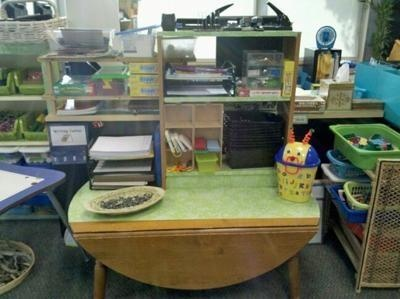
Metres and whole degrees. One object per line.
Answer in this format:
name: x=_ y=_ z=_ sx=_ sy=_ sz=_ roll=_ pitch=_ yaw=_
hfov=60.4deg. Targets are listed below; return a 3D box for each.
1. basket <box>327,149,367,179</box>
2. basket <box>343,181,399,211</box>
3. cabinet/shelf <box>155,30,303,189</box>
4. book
basket: x=1.076 y=0.129 z=2.602 sx=0.206 sy=0.078 sz=0.226 roll=3 pitch=27 yaw=0
basket: x=1.152 y=0.312 z=2.438 sx=0.208 sy=0.084 sz=0.229 roll=-1 pitch=14 yaw=0
cabinet/shelf: x=0.194 y=-0.266 z=2.431 sx=1.234 sy=1.357 sz=0.400 roll=-1 pitch=40 yaw=-1
book: x=-0.592 y=0.117 z=2.631 sx=0.353 sy=0.156 sz=0.452 roll=1 pitch=27 yaw=-3
